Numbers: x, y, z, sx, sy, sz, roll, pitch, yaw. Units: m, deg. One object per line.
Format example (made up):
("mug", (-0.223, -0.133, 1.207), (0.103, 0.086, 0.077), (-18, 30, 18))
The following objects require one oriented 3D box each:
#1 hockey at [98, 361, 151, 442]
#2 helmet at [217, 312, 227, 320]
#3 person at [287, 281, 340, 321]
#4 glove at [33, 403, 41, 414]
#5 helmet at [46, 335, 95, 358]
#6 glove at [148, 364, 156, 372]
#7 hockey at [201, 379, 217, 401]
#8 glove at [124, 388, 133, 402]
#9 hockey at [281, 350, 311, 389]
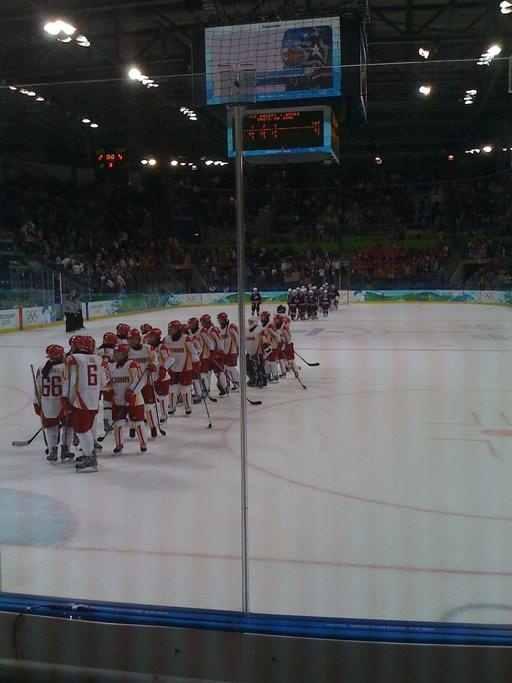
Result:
("hockey", (-1.307, 0.558, 7.582), (0.356, 1.015, 0.305), (-2, 7, 10))
("helmet", (-0.521, -0.384, 11.408), (0.109, 0.119, 0.151), (0, 1, -1))
("person", (1.955, -1.481, 28.618), (0.895, 1.211, 3.234), (-1, 1, 16))
("glove", (-2.030, 0.613, 7.159), (0.051, 0.111, 0.185), (-4, 4, -19))
("helmet", (-1.673, 0.043, 6.946), (0.372, 0.162, 0.253), (-6, 2, -3))
("glove", (-1.067, 0.262, 7.840), (0.063, 0.089, 0.089), (-2, 4, -2))
("hockey", (-0.710, 0.703, 10.709), (0.264, 0.284, 0.084), (7, 34, 46))
("glove", (-1.237, 0.518, 7.457), (0.102, 0.105, 0.036), (7, 6, 42))
("hockey", (0.658, 0.533, 12.435), (0.139, 0.476, 0.453), (-17, 19, -11))
